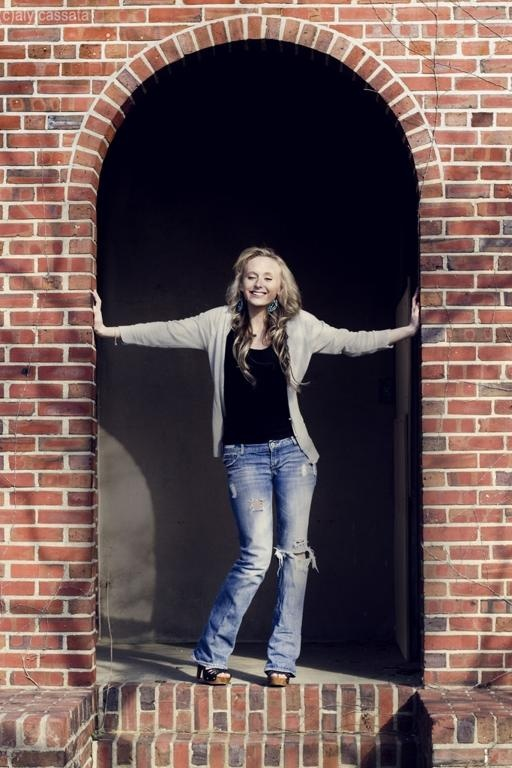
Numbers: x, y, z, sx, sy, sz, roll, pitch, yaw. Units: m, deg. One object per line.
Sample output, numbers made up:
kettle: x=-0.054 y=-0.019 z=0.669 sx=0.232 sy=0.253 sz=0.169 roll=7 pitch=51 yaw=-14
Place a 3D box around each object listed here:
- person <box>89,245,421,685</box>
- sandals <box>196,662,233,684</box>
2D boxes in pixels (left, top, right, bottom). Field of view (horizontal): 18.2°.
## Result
person: x=0.022 y=0.337 z=6.900 sx=1.097 sy=1.846 sz=0.431 roll=0 pitch=3 yaw=-4
sandals: x=-0.166 y=1.222 z=6.808 sx=0.061 sy=0.073 sz=0.154 roll=11 pitch=-20 yaw=-37
